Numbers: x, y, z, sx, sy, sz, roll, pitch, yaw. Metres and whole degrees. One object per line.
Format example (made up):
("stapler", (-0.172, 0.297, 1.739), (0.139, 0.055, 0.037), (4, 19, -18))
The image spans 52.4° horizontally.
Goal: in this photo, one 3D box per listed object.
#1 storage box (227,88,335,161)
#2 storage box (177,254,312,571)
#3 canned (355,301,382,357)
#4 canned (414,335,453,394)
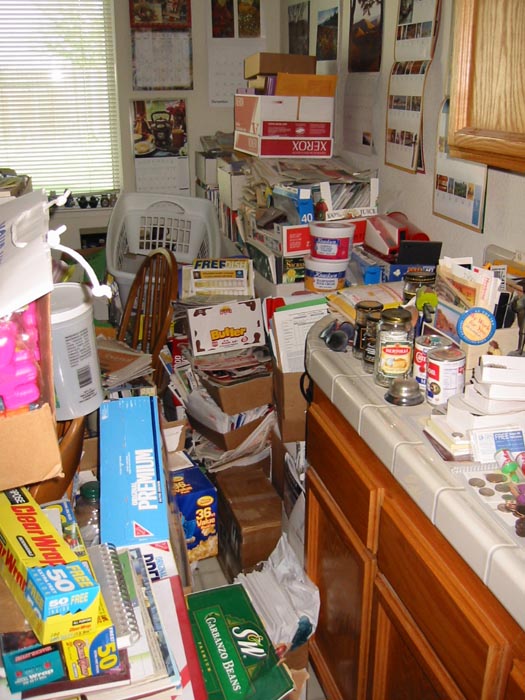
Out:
("storage box", (0.072, -0.823, 2.075), (0.308, 0.214, 0.330), (-4, 22, -13))
("storage box", (-0.051, 0.233, 1.820), (0.265, 0.891, 0.791), (-4, -25, 0))
("canned", (0.207, -0.039, 1.066), (0.056, 0.105, 0.100), (2, 22, 5))
("canned", (0.285, 0.026, 0.893), (0.058, 0.077, 0.047), (-12, 31, -7))
